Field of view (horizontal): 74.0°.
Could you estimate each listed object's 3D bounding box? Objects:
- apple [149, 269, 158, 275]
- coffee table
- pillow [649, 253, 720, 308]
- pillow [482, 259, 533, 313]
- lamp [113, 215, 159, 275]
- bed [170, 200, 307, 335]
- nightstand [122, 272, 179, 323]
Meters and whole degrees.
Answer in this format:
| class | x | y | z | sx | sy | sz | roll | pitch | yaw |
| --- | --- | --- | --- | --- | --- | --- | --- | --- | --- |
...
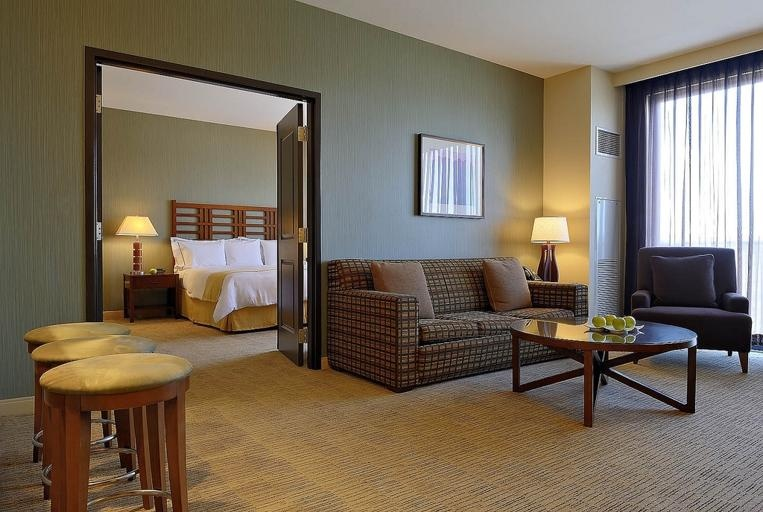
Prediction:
| class | x | y | z | sx | sy | sz | roll | pitch | yaw |
| --- | --- | --- | --- | --- | --- | --- | --- | --- | --- |
| apple | -3.203 | 0.225 | 7.157 | 0.074 | 0.048 | 0.087 | 2 | 3 | -6 |
| coffee table | 1.695 | 0.843 | 3.910 | 1.365 | 0.631 | 0.869 | 0 | 11 | -1 |
| pillow | 3.019 | 0.260 | 5.043 | 0.514 | 0.508 | 0.186 | -3 | -24 | 21 |
| pillow | 1.252 | 0.321 | 5.146 | 0.256 | 0.487 | 0.417 | -11 | -22 | 44 |
| lamp | -3.449 | -0.172 | 7.206 | 0.559 | 0.776 | 0.625 | -5 | 12 | -25 |
| bed | -1.971 | 0.069 | 7.291 | 1.771 | 1.429 | 2.257 | -1 | 1 | -35 |
| nightstand | -3.280 | 0.500 | 7.199 | 0.890 | 0.852 | 0.662 | 0 | -1 | -38 |
